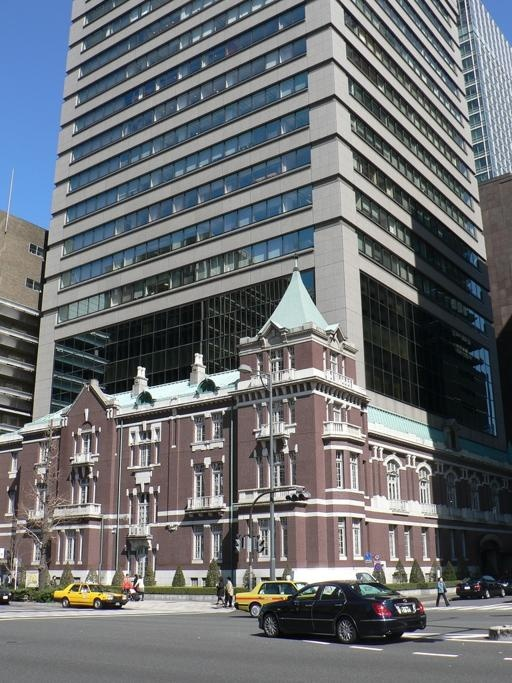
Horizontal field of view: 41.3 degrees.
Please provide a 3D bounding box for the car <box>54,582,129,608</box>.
[{"bbox_3d":[-9.571,14.615,39.057,4.503,1.310,1.886,-17,-25,41],"label":"car"}]

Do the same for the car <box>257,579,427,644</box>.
[{"bbox_3d":[2.305,7.583,19.160,1.842,1.549,5.311,13,-22,-34],"label":"car"}]
